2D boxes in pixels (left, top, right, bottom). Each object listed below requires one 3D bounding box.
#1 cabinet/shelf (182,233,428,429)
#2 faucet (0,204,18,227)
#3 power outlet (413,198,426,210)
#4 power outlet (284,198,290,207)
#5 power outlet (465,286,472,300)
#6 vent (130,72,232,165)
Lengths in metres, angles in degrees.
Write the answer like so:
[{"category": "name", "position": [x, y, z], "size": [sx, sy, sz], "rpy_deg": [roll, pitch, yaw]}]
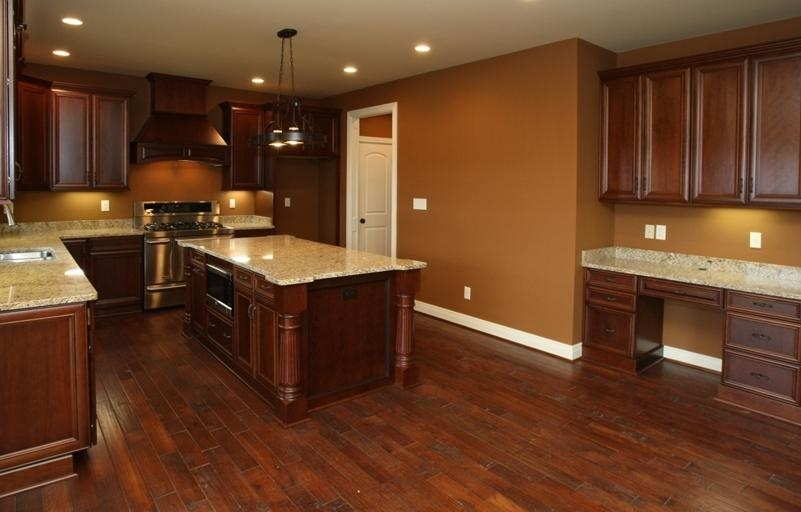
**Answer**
[{"category": "cabinet/shelf", "position": [-0.815, 0.239, 5.620], "size": [1.623, 1.176, 2.707], "rpy_deg": [-3, 8, -36]}, {"category": "faucet", "position": [-4.423, -0.458, 6.320], "size": [0.110, 0.338, 0.353], "rpy_deg": [-11, 12, -42]}, {"category": "power outlet", "position": [0.263, -0.699, 7.545], "size": [0.292, 0.175, 0.013], "rpy_deg": [10, 14, 43]}, {"category": "power outlet", "position": [-1.814, -0.875, 9.046], "size": [0.109, 0.152, 0.019], "rpy_deg": [-4, 11, -25]}, {"category": "power outlet", "position": [0.856, 0.456, 7.067], "size": [0.020, 0.184, 0.169], "rpy_deg": [-5, 10, -36]}, {"category": "vent", "position": [-2.993, -1.936, 7.835], "size": [1.294, 1.118, 0.467], "rpy_deg": [2, 26, -4]}]
